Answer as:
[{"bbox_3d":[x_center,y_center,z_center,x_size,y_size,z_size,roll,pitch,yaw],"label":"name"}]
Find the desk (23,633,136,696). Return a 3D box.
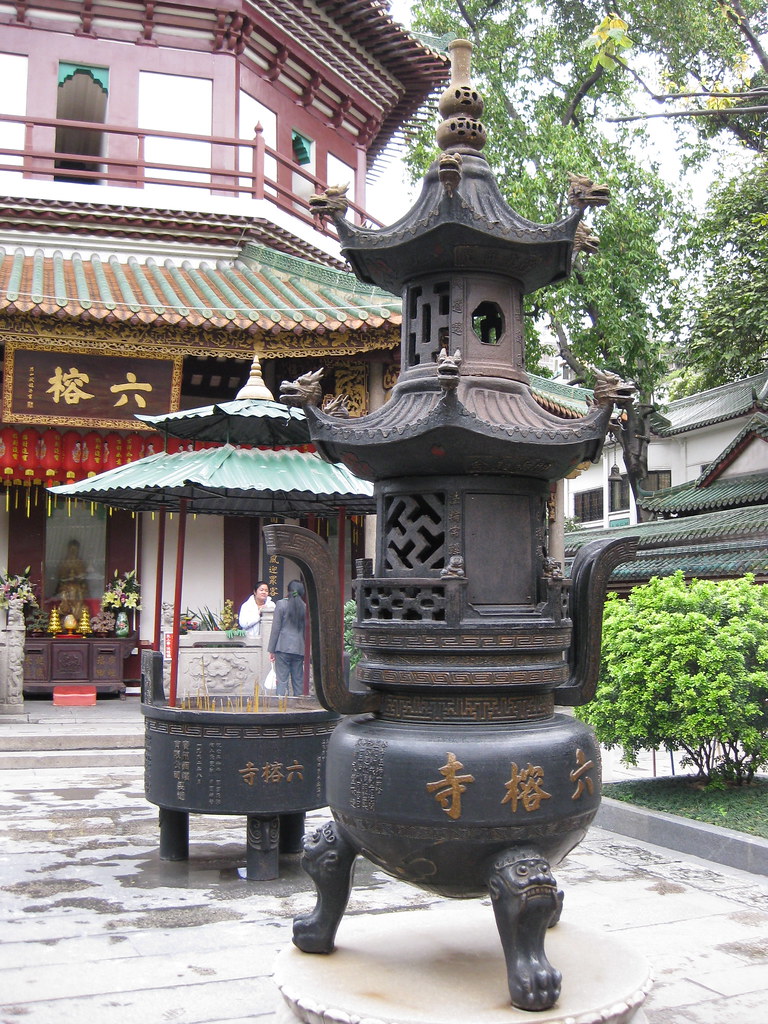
[{"bbox_3d":[-3.476,1.696,14.681,1.039,0.438,0.308,1,-4,-9],"label":"desk"}]

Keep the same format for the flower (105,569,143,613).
[{"bbox_3d":[-3.047,0.951,15.325,0.483,0.441,0.445,1,4,-10],"label":"flower"}]

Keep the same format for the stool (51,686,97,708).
[{"bbox_3d":[-3.414,2.030,14.441,0.456,0.195,0.404,-4,5,-12],"label":"stool"}]

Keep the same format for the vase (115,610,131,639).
[{"bbox_3d":[-3.001,1.287,15.016,0.267,0.340,0.259,3,-10,-11],"label":"vase"}]

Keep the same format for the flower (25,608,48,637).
[{"bbox_3d":[-3.989,1.267,15.101,0.321,0.339,0.294,2,-7,-9],"label":"flower"}]
